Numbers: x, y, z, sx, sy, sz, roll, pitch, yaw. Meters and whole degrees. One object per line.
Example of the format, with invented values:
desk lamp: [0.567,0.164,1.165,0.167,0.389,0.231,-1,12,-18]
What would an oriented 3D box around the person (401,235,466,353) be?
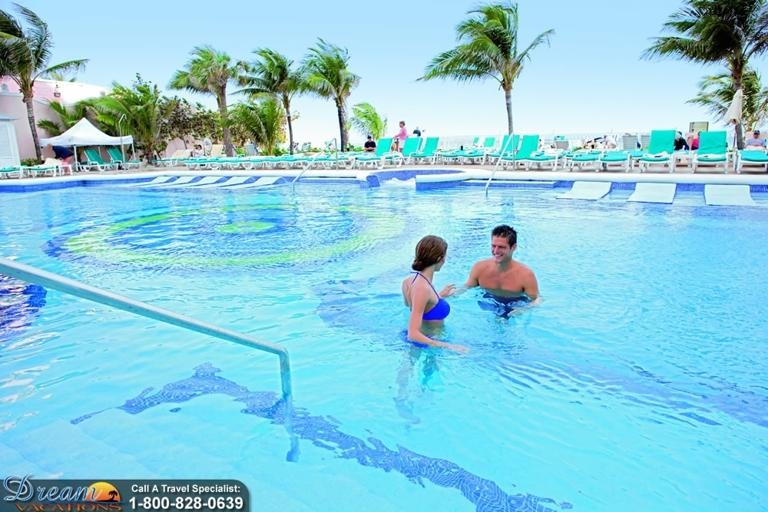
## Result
person: [0.425,0.331,3.945,0.553,1.038,0.471,-4,14,-16]

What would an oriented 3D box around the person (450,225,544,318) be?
person: [1.412,0.201,5.475,1.127,1.100,0.791,9,38,28]

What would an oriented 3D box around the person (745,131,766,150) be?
person: [13.262,-4.086,15.633,0.596,0.718,1.121,9,14,36]
